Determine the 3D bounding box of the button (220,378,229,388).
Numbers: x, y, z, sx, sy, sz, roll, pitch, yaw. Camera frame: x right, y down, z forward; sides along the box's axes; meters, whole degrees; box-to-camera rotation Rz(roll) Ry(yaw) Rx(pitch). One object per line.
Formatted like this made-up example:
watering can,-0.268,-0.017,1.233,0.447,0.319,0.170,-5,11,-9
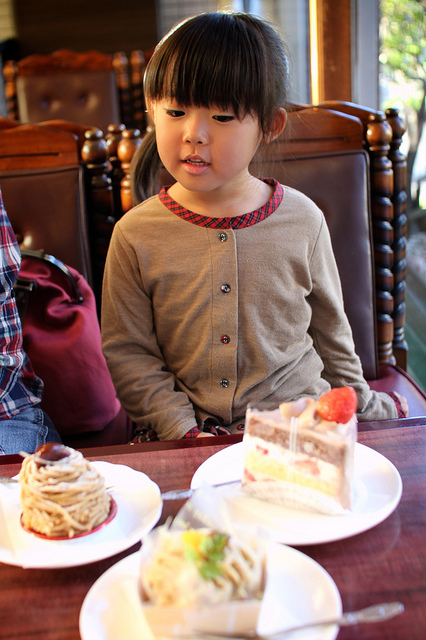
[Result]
button,0.020,0.107,0.898,0.015,0.014,0.004,-7,-6,-2

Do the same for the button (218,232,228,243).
button,0.017,-0.141,0.878,0.015,0.017,0.004,4,-14,-1

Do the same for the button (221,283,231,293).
button,0.022,-0.054,0.871,0.014,0.013,0.003,7,-7,-17

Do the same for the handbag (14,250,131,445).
handbag,-0.326,0.057,1.073,0.119,0.370,0.305,-9,-6,43

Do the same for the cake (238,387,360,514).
cake,0.106,0.135,0.522,0.084,0.132,0.114,8,1,-37

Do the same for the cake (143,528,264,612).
cake,-0.005,0.171,0.347,0.079,0.043,0.050,-10,22,-16

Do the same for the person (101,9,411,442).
person,0.050,-0.141,0.902,0.524,0.722,0.298,-12,22,-17

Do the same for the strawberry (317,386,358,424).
strawberry,0.122,0.079,0.525,0.024,0.038,0.029,40,-3,6

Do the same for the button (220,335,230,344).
button,0.021,0.032,0.881,0.014,0.014,0.006,-4,21,2

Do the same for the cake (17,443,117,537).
cake,-0.153,0.149,0.507,0.071,0.042,0.089,-1,22,-15
